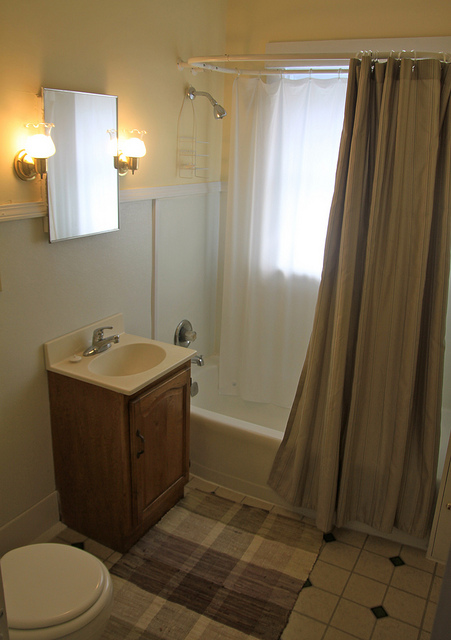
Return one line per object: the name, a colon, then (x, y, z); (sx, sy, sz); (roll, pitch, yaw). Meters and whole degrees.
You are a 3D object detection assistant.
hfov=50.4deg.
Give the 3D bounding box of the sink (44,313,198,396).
sink: (-0.436, 0.154, 2.106); (0.436, 0.246, 0.561); (9, 14, 24)
